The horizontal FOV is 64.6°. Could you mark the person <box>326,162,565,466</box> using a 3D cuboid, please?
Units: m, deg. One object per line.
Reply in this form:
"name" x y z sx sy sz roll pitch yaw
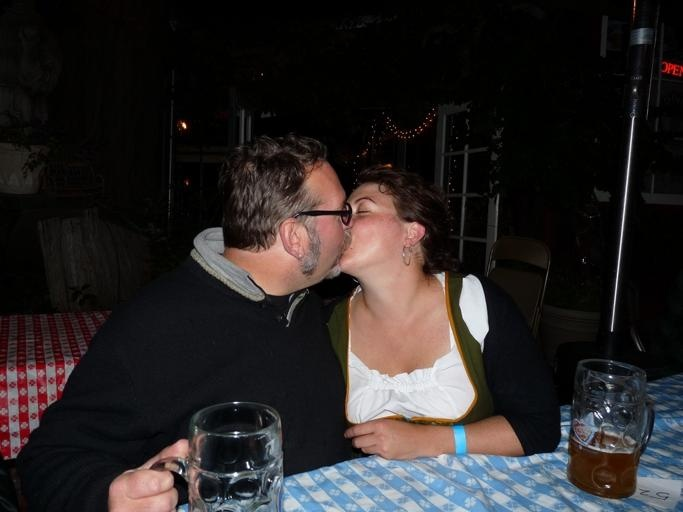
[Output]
"person" 0.333 0.276 2.604 1.308 1.347 0.814 -9 -8 32
